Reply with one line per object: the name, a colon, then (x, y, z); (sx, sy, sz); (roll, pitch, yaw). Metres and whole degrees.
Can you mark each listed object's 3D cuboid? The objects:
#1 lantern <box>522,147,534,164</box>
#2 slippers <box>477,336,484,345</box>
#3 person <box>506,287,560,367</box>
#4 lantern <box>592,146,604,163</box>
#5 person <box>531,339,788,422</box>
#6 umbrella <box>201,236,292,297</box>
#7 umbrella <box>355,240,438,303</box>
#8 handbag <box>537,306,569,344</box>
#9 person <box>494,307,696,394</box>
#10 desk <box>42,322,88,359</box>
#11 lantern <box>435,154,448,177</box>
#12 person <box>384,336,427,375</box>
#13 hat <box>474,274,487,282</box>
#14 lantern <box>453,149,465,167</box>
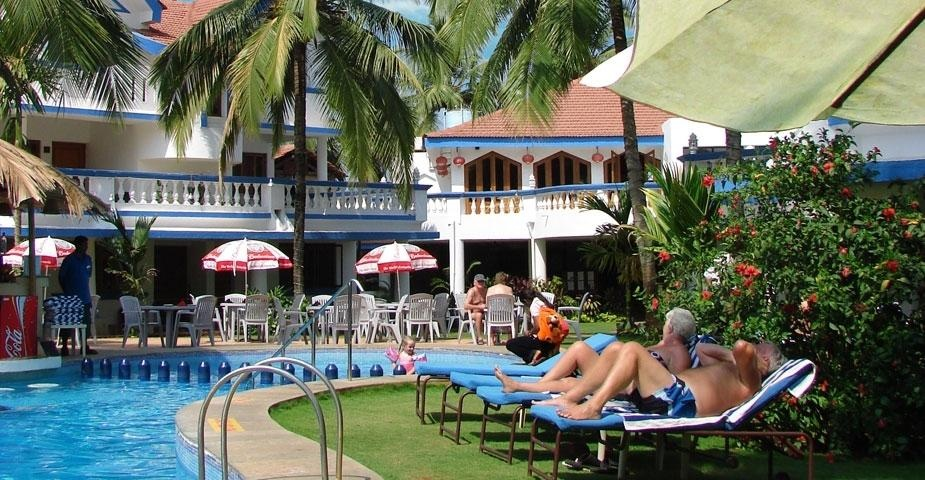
lantern: (2.777, -3.618, 34.534); (0.467, 0.722, 0.905); (-1, -6, 5)
slippers: (0.490, 2.905, 23.202); (0.201, 0.141, 0.533); (0, -2, -3)
person: (1.387, 1.776, 16.277); (0.993, 1.542, 1.047); (6, -15, -33)
lantern: (5.809, -3.644, 34.613); (0.530, 0.633, 0.432); (-1, -6, 0)
person: (2.943, 2.093, 11.809); (2.588, 0.887, 1.365); (2, -7, -4)
umbrella: (-6.490, 0.671, 24.188); (2.104, 1.307, 2.122); (1, -2, -4)
umbrella: (-2.093, 0.837, 25.579); (2.369, 1.577, 2.438); (-6, 1, -41)
handbag: (1.531, 1.565, 15.036); (0.655, 0.338, 0.772); (-14, 27, -36)
person: (2.087, 1.904, 12.445); (2.939, 1.061, 1.358); (-7, 0, 6)
desk: (-10.220, 2.719, 20.821); (1.211, 1.078, 1.170); (0, -3, -7)
lantern: (-0.848, -3.163, 34.529); (0.603, 0.816, 0.302); (1, -6, -12)
person: (-1.382, 2.786, 19.250); (1.128, 1.218, 0.451); (2, -16, -12)
hat: (0.485, 1.121, 23.291); (0.245, 0.161, 0.328); (0, 0, -5)
lantern: (-0.187, -3.512, 34.546); (0.511, 0.760, 0.591); (0, -6, -1)
